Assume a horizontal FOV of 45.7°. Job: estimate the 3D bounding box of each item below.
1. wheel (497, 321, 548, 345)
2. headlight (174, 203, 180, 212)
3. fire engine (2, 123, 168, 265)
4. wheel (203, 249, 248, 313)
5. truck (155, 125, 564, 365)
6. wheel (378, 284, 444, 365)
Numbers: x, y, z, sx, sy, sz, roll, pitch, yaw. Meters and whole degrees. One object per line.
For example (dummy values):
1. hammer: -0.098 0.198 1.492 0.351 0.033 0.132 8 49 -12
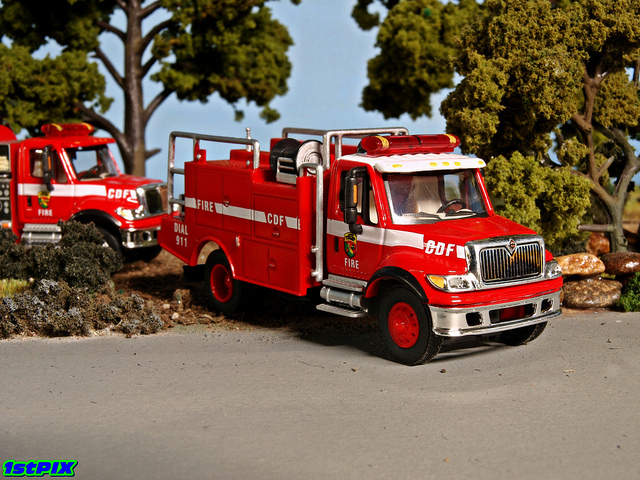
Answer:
1. wheel: 3.648 1.515 13.534 0.549 0.653 0.575 0 0 0
2. headlight: -3.120 -0.708 16.415 0.099 0.171 0.051 4 -7 13
3. fire engine: -5.961 -1.136 18.933 3.893 3.432 1.662 1 12 7
4. wheel: -1.925 0.842 15.538 1.183 1.349 0.432 24 24 39
5. truck: 0.575 0.047 15.192 8.249 4.372 3.765 11 14 43
6. wheel: 1.488 1.361 12.267 0.363 1.169 1.116 -12 8 -31
